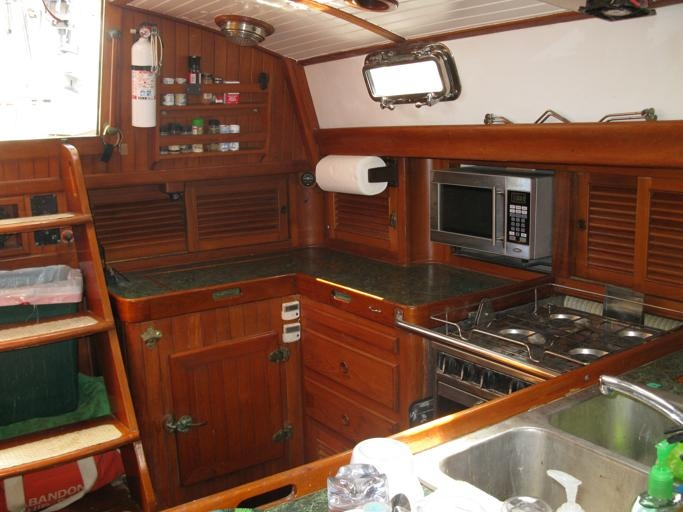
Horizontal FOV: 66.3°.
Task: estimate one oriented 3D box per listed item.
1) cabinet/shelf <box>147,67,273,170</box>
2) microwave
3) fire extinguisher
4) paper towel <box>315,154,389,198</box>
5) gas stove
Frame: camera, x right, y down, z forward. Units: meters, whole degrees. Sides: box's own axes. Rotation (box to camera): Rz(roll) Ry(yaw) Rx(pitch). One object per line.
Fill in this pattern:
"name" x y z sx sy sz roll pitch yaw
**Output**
"cabinet/shelf" -0.764 -0.791 2.935 0.787 0.419 0.218 -10 29 -24
"microwave" 0.838 -0.219 2.597 0.536 0.385 0.719 -9 14 -25
"fire extinguisher" -1.005 -0.938 2.710 0.184 0.517 0.157 -5 11 -24
"paper towel" 0.004 -0.446 2.927 0.401 0.218 0.475 -6 12 -41
"gas stove" 0.847 0.277 2.104 0.812 0.200 0.653 -4 9 -25
